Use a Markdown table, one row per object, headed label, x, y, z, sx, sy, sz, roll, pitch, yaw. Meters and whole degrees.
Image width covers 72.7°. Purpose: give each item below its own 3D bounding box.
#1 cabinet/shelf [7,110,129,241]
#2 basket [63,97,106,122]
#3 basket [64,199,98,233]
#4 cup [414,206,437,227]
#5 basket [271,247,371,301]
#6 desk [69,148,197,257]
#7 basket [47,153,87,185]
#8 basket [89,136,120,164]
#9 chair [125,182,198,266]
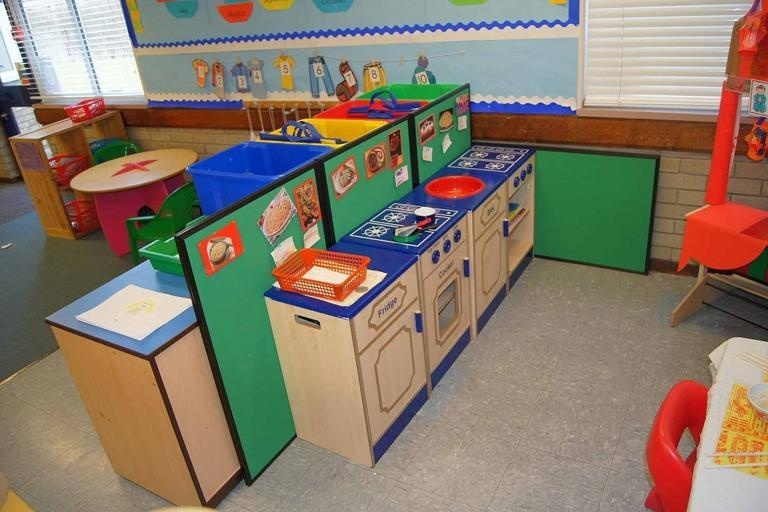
| label | x | y | z | sx | sy | sz | roll | pitch | yaw |
| --- | --- | --- | --- | --- | --- | --- | --- | --- | --- |
| cabinet/shelf | -3.728 | -1.125 | 6.531 | 0.457 | 1.234 | 1.357 | 6 | 33 | 13 |
| basket | -3.514 | -1.738 | 6.314 | 0.298 | 0.178 | 0.431 | 13 | 36 | 24 |
| basket | -3.503 | -0.453 | 6.179 | 0.428 | 0.264 | 0.291 | 23 | 33 | 29 |
| cup | 0.285 | -0.273 | 3.548 | 0.131 | 0.077 | 0.129 | -4 | 24 | 2 |
| basket | -0.349 | 0.104 | 3.179 | 0.425 | 0.121 | 0.344 | 10 | 32 | 18 |
| desk | -2.630 | -0.478 | 5.930 | 1.321 | 0.848 | 1.273 | -14 | 4 | -16 |
| basket | -3.710 | -1.049 | 6.169 | 0.418 | 0.251 | 0.420 | 15 | 28 | 28 |
| basket | -3.356 | -1.272 | 6.349 | 0.300 | 0.305 | 0.357 | -10 | 15 | -32 |
| chair | -1.937 | -0.292 | 4.559 | 0.506 | 0.674 | 0.507 | 22 | 42 | 15 |
